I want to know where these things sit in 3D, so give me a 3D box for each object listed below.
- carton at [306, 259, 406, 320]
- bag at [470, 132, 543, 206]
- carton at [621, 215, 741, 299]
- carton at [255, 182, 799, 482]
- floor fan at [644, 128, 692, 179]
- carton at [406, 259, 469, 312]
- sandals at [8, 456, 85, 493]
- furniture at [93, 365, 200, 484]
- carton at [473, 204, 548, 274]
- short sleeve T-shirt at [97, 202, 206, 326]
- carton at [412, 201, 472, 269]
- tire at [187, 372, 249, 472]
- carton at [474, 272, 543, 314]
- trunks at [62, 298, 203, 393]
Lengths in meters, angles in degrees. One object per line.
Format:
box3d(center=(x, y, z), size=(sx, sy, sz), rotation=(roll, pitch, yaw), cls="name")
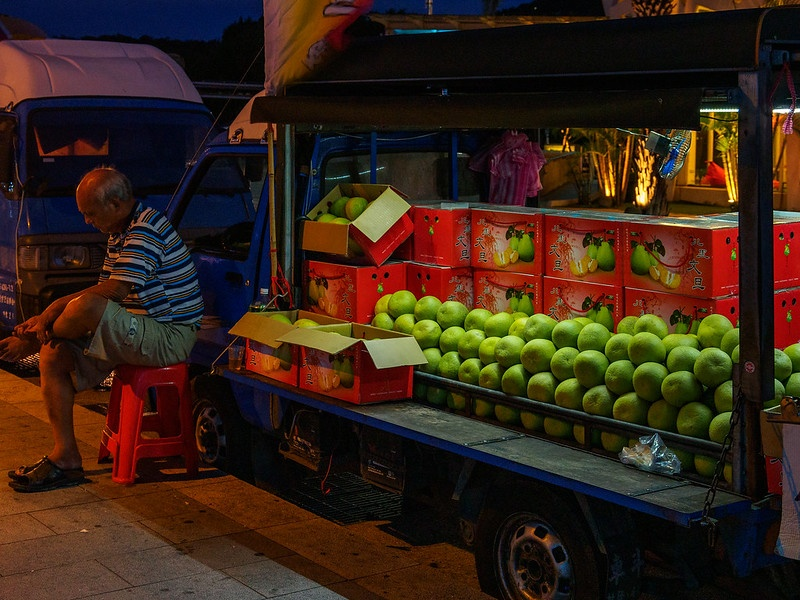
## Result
box3d(center=(-0.314, -0.108, 5.384), size=(0.494, 0.363, 0.709), rotation=(-4, 8, -37), cls="carton")
box3d(center=(1.032, -1.320, 6.357), size=(0.702, 0.806, 0.336), rotation=(6, 24, 15), cls="bag")
box3d(center=(1.776, -0.287, 4.089), size=(0.372, 0.428, 0.686), rotation=(-12, 13, -27), cls="carton")
box3d(center=(0.882, 0.123, 4.182), size=(2.977, 1.333, 1.199), rotation=(7, 5, 40), cls="carton")
box3d(center=(1.734, -0.985, 4.229), size=(0.260, 0.366, 0.866), rotation=(5, 4, 20), cls="floor fan")
box3d(center=(0.362, -0.127, 5.409), size=(0.554, 0.313, 0.583), rotation=(4, 4, -25), cls="carton")
box3d(center=(-2.999, 1.448, 5.572), size=(0.436, 0.178, 0.294), rotation=(4, -3, -30), cls="sandals")
box3d(center=(-2.209, 0.931, 5.910), size=(0.747, 0.960, 0.812), rotation=(-5, 27, -40), cls="furniture")
box3d(center=(0.749, -0.431, 5.081), size=(0.653, 0.463, 0.359), rotation=(2, -7, -22), cls="carton")
box3d(center=(-2.148, -0.265, 5.857), size=(0.842, 1.172, 1.349), rotation=(-3, 6, -20), cls="short sleeve T-shirt")
box3d(center=(0.380, -0.543, 5.418), size=(0.576, 0.444, 0.600), rotation=(-2, 9, -25), cls="carton")
box3d(center=(-1.637, 1.104, 5.960), size=(0.306, 0.938, 0.883), rotation=(-5, 9, -42), cls="tire")
box3d(center=(0.817, -0.067, 4.918), size=(0.279, 0.345, 0.512), rotation=(-8, 12, -44), cls="carton")
box3d(center=(-2.556, 0.287, 5.877), size=(1.485, 0.599, 1.374), rotation=(11, -6, -40), cls="trunks")
